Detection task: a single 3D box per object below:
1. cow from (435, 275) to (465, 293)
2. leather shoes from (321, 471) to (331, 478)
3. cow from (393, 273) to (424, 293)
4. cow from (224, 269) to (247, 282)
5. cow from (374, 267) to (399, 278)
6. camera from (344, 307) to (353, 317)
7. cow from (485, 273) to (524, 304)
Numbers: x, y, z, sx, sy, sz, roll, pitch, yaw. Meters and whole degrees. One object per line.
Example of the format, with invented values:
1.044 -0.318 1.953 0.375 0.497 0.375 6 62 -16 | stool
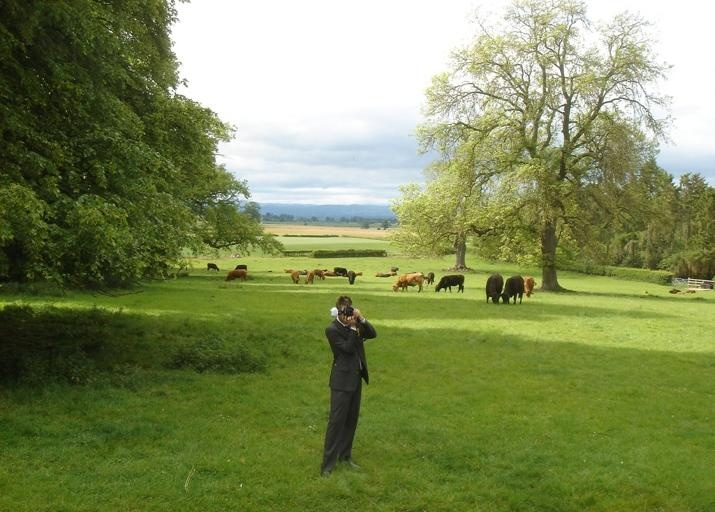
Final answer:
8.055 2.414 49.699 1.831 1.531 3.338 9 8 25 | cow
-0.889 6.334 16.686 0.223 0.087 0.181 -14 -13 30 | leather shoes
4.473 2.354 50.157 2.555 1.558 1.967 5 8 -3 | cow
-11.069 1.782 52.940 1.501 0.997 2.135 8 8 20 | cow
3.464 2.218 71.165 1.922 0.636 1.480 -5 2 22 | cow
-0.236 1.592 16.437 0.229 0.252 0.286 0 -11 10 | camera
10.458 2.380 40.802 2.684 2.078 2.122 2 8 -20 | cow
